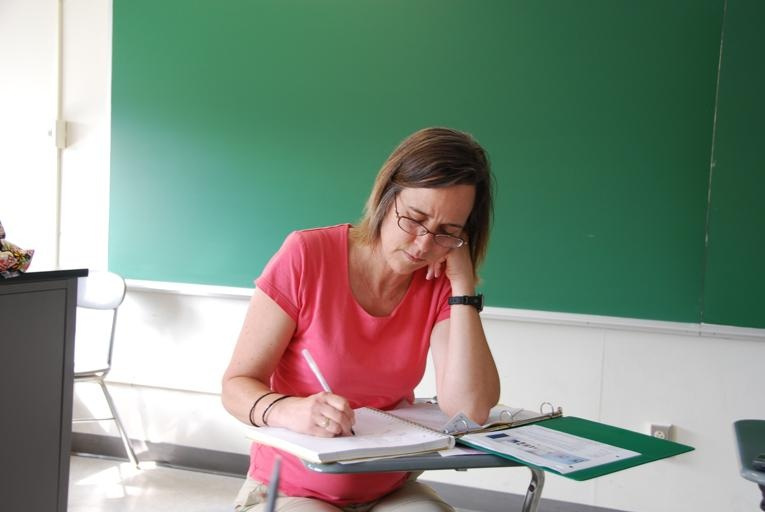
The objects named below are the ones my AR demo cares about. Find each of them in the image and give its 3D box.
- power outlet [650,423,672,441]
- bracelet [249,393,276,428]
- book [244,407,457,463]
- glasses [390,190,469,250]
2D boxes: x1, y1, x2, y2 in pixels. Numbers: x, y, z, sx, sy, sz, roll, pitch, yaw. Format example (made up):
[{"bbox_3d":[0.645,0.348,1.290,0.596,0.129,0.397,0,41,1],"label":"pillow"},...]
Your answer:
[{"bbox_3d":[1.356,0.852,2.830,0.107,0.069,0.103,6,-2,23],"label":"power outlet"},{"bbox_3d":[-0.377,0.468,1.792,0.023,0.089,0.091,28,29,18],"label":"bracelet"},{"bbox_3d":[-0.055,0.527,1.675,0.274,0.044,0.296,1,4,-35],"label":"book"},{"bbox_3d":[0.171,-0.141,1.950,0.188,0.055,0.187,21,13,-29],"label":"glasses"}]
